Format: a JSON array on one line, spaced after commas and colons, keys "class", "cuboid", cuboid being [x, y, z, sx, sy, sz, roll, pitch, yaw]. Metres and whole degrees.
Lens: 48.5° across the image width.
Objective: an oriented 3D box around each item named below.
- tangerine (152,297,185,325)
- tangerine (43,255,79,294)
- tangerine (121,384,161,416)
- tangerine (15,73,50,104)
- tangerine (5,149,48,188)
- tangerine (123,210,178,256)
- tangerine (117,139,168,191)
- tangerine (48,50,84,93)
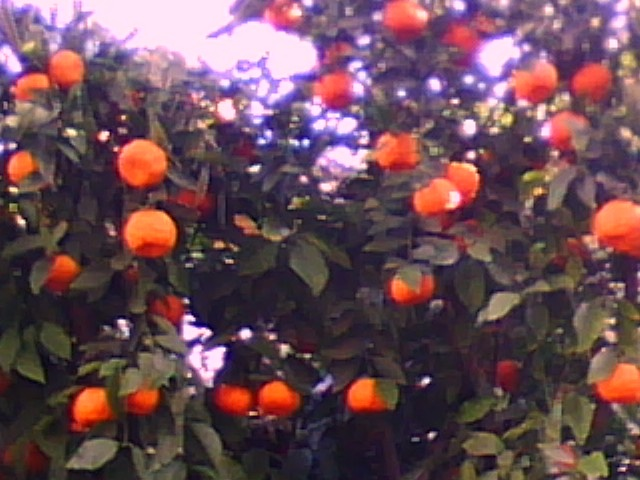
[{"class": "tangerine", "cuboid": [-0.348, 0.171, 1.667, 0.075, 0.058, 0.046, 17, -15, -6]}, {"class": "tangerine", "cuboid": [-0.605, 0.084, 1.687, 0.073, 0.088, 0.073, 4, -3, 15]}, {"class": "tangerine", "cuboid": [-0.412, 0.380, 1.646, 0.077, 0.058, 0.045, -5, -12, -3]}, {"class": "tangerine", "cuboid": [-0.662, -0.351, 1.635, 0.074, 0.043, 0.057, -16, -72, 0]}, {"class": "tangerine", "cuboid": [-0.687, -0.171, 1.651, 0.092, 0.067, 0.049, -9, -37, 19]}, {"class": "tangerine", "cuboid": [-0.390, -0.016, 1.646, 0.122, 0.090, 0.065, 1, -34, 5]}, {"class": "tangerine", "cuboid": [-0.406, -0.176, 1.644, 0.114, 0.087, 0.076, 6, -34, -2]}, {"class": "tangerine", "cuboid": [-0.580, -0.396, 1.634, 0.080, 0.071, 0.054, 2, -34, 5]}]
